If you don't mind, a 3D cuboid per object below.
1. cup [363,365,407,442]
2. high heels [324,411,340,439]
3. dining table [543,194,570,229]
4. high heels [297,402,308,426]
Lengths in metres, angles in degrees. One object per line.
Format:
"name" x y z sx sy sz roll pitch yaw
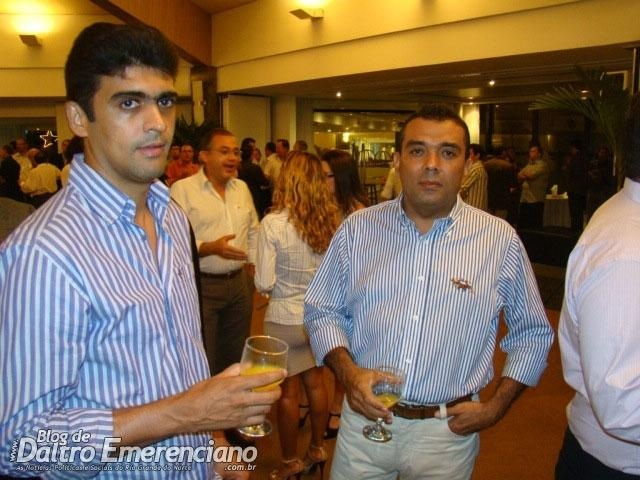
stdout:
"cup" 0.232 0.616 1.651 0.150 0.337 0.177 2 10 11
"high heels" 0.108 1.373 3.361 0.106 0.147 0.353 -2 -8 6
"dining table" 5.372 -0.642 9.967 0.529 0.754 0.737 -1 -2 1
"high heels" -0.146 1.367 3.540 0.057 0.070 0.187 1 52 4
